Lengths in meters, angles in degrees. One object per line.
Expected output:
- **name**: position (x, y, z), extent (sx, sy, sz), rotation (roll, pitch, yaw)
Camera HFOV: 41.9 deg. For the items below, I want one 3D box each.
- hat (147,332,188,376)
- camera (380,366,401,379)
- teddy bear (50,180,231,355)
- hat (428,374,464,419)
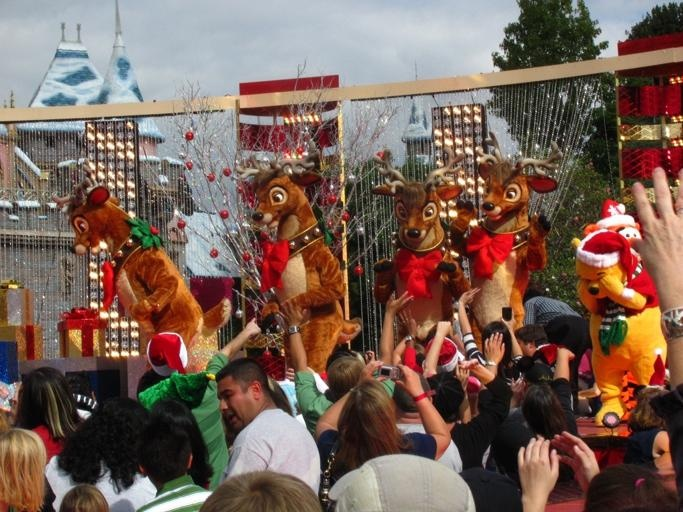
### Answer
- **hat**: position (-1.355, 0.800, 7.012), extent (0.238, 0.355, 0.269), rotation (-19, -17, -12)
- **camera**: position (0.322, 0.765, 5.822), extent (0.060, 0.098, 0.148), rotation (9, -6, -19)
- **teddy bear**: position (-2.154, 0.257, 9.907), extent (1.737, 2.441, 1.202), rotation (-7, 1, -24)
- **hat**: position (0.680, 0.905, 5.812), extent (0.191, 0.300, 0.160), rotation (-16, -18, -2)
